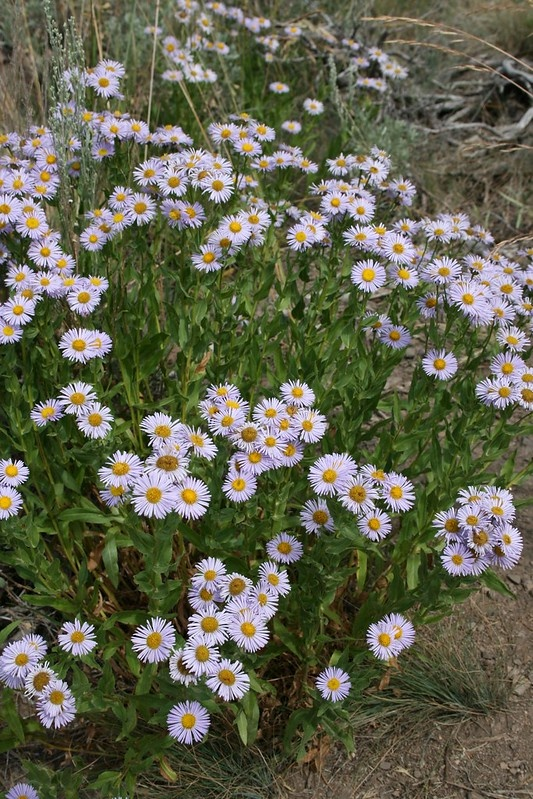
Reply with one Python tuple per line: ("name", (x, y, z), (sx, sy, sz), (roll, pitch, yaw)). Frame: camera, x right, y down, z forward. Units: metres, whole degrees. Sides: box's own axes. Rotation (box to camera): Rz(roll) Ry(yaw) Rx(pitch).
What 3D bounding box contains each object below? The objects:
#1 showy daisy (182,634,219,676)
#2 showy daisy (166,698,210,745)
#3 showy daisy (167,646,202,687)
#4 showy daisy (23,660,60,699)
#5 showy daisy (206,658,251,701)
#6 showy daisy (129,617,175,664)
("showy daisy", (-0.164, 0.653, 1.787), (0.091, 0.025, 0.091), (-1, 57, -21))
("showy daisy", (-0.222, 0.879, 1.899), (0.125, 0.047, 0.121), (6, 63, -24))
("showy daisy", (-0.220, 0.709, 1.870), (0.089, 0.034, 0.088), (30, 56, 0))
("showy daisy", (-0.630, 0.796, 1.967), (0.089, 0.032, 0.089), (-11, 44, -17))
("showy daisy", (-0.096, 0.729, 1.816), (0.112, 0.025, 0.113), (22, 43, -19))
("showy daisy", (-0.321, 0.642, 1.882), (0.123, 0.052, 0.124), (-3, 13, 20))
